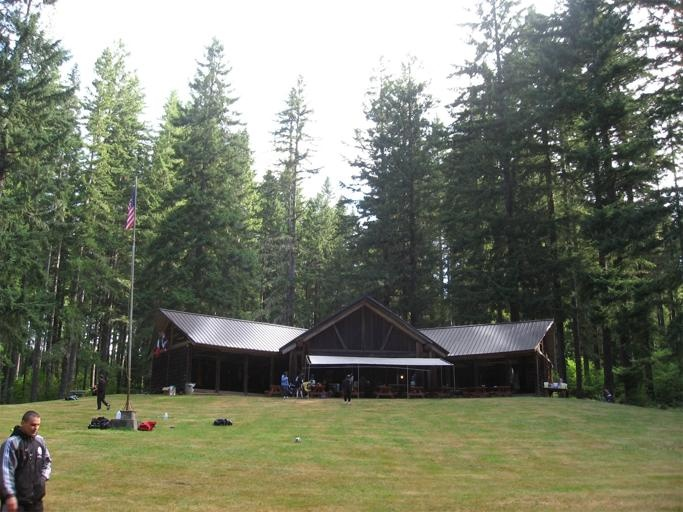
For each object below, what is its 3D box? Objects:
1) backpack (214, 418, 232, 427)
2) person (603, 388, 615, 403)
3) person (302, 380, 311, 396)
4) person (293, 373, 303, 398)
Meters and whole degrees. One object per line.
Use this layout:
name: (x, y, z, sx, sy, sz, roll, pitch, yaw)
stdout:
backpack: (-5.614, 7.848, 31.705, 0.616, 0.367, 0.393, 2, -12, 0)
person: (17.861, 9.374, 45.038, 0.544, 0.858, 1.767, 1, -2, 18)
person: (-2.391, 8.993, 45.330, 0.607, 1.090, 1.495, 1, -2, -3)
person: (-2.967, 8.916, 46.222, 0.637, 0.974, 1.660, 1, -2, -5)
